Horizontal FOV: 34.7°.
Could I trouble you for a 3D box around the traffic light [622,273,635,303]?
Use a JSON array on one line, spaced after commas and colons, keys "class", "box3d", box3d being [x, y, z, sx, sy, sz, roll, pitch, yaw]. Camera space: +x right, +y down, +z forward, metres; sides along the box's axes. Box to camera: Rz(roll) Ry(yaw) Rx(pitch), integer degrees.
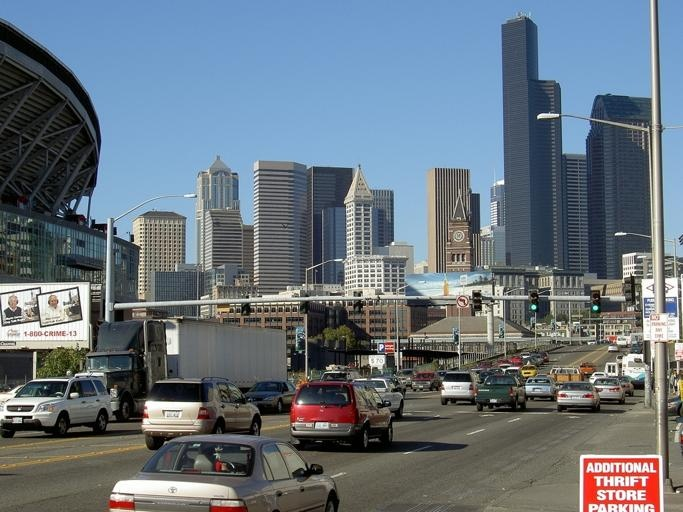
[{"class": "traffic light", "box3d": [10.399, 1.153, 39.238, 0.356, 1.010, 1.188, -4, -9, 17]}]
